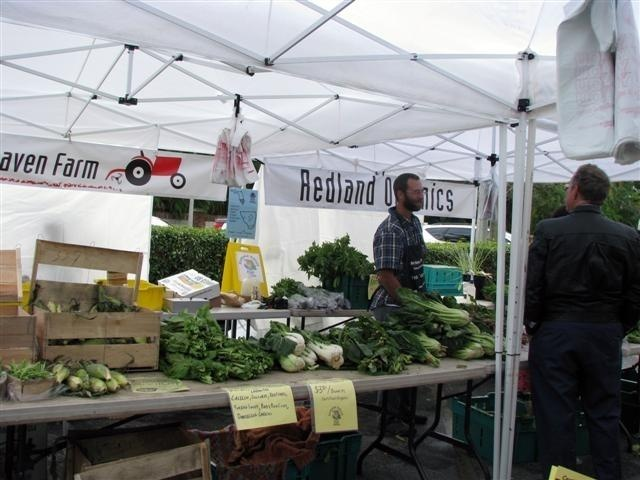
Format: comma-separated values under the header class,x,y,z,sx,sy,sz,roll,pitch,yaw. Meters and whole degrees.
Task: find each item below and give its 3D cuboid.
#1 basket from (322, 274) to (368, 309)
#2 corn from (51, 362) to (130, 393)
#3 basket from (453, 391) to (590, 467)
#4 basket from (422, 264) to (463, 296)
class,x,y,z,sx,sy,sz,roll,pitch,yaw
basket,0.338,0.540,6.207,0.455,0.372,0.502,0,6,-29
corn,-1.360,0.821,3.223,0.425,0.180,0.197,1,-4,-22
basket,2.027,1.883,5.525,1.067,0.362,0.756,0,0,-18
basket,1.774,0.553,7.722,0.618,0.361,0.590,0,2,-2
